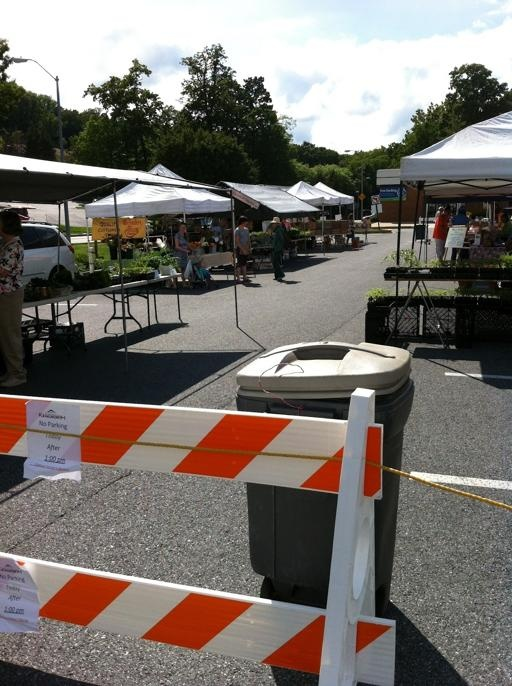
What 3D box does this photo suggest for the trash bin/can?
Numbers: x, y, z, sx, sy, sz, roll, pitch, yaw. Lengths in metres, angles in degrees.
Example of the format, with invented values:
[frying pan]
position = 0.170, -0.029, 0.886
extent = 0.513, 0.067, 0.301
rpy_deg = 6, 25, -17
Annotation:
[trash bin/can]
position = 0.284, 0.587, 2.047
extent = 0.695, 1.114, 0.786
rpy_deg = -1, 4, -8

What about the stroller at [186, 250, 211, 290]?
[stroller]
position = -1.874, -2.213, 16.423
extent = 0.921, 1.169, 0.890
rpy_deg = 0, 28, -4

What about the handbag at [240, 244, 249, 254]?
[handbag]
position = -0.349, -2.851, 16.739
extent = 0.314, 0.282, 0.232
rpy_deg = -2, 4, -18
